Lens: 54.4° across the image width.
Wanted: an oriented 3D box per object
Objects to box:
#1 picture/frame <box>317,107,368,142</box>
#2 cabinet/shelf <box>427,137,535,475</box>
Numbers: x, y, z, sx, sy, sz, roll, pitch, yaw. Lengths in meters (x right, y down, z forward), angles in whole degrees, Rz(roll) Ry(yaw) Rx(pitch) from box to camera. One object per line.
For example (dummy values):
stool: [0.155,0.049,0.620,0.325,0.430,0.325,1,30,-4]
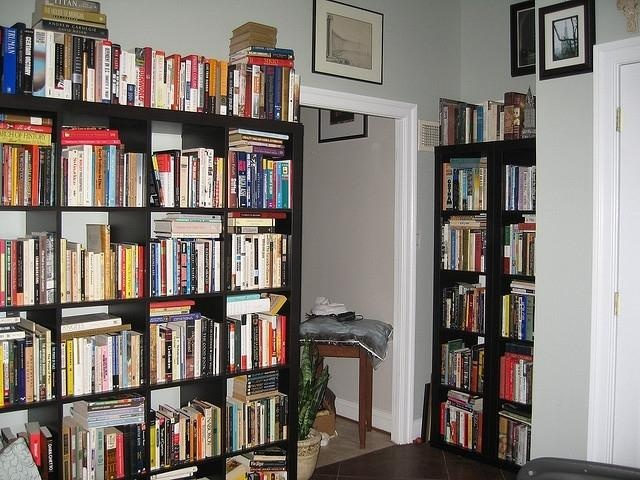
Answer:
picture/frame: [0.193,-1.039,5.534,0.071,0.310,0.674,-3,4,-36]
cabinet/shelf: [1.227,0.423,4.548,0.388,2.275,0.845,-4,4,-44]
